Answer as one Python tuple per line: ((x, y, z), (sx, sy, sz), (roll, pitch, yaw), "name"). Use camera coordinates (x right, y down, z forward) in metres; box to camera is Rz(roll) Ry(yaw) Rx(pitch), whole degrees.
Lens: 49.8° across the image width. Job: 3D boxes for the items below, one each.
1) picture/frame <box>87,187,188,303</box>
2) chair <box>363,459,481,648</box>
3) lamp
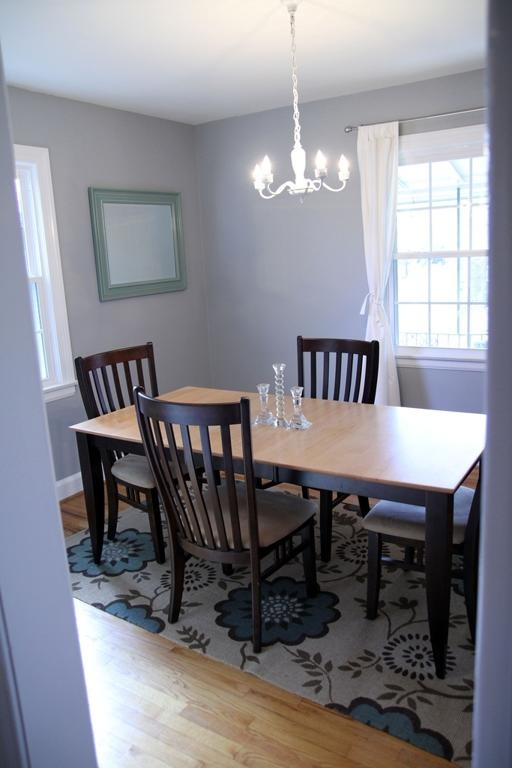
((-0.833, -0.960, 3.750), (0.038, 0.667, 0.811), (6, 16, 27), "picture/frame")
((0.518, 0.534, 1.791), (0.368, 0.671, 0.582), (0, 11, 19), "chair")
((0.267, -1.553, 3.022), (0.439, 1.219, 0.515), (11, 38, 26), "lamp")
